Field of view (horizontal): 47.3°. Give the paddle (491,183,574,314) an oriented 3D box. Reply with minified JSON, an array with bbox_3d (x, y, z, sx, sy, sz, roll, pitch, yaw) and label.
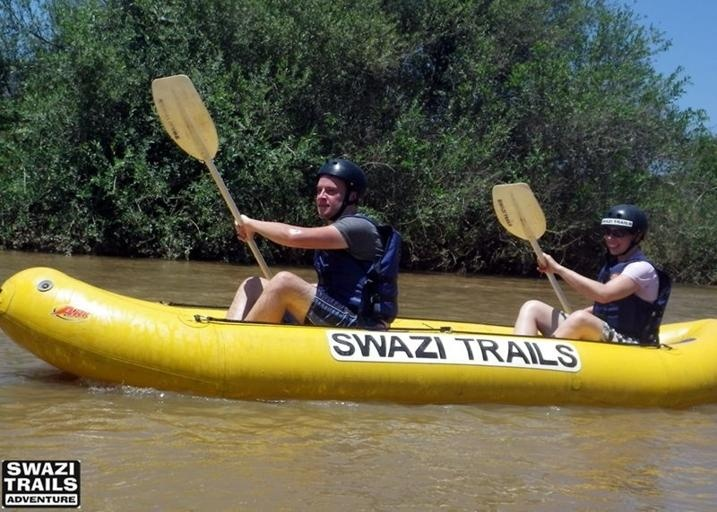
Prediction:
[{"bbox_3d":[1.839,0.031,8.516,0.519,1.787,0.244,-8,34,34],"label":"paddle"}]

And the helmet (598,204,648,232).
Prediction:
[{"bbox_3d":[2.474,-0.352,7.643,0.363,0.268,0.262,-1,4,-10],"label":"helmet"}]

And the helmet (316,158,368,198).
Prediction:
[{"bbox_3d":[-0.101,-0.683,7.130,0.437,0.326,0.317,10,-2,-21],"label":"helmet"}]
